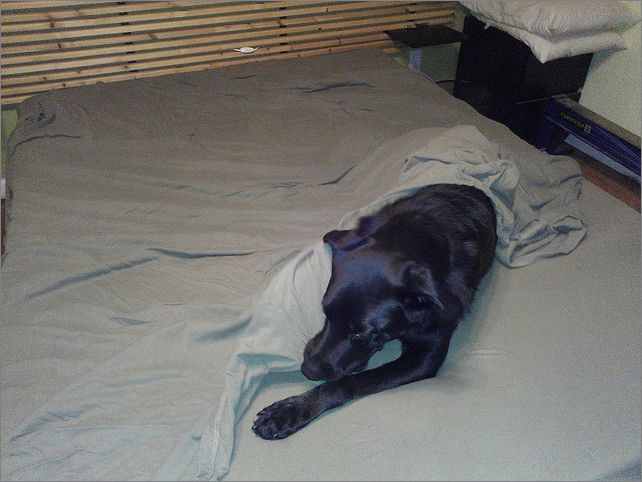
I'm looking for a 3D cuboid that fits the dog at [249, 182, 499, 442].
[{"bbox_3d":[0.257,0.192,2.860,0.590,0.547,1.425,29,48,24],"label":"dog"}]
